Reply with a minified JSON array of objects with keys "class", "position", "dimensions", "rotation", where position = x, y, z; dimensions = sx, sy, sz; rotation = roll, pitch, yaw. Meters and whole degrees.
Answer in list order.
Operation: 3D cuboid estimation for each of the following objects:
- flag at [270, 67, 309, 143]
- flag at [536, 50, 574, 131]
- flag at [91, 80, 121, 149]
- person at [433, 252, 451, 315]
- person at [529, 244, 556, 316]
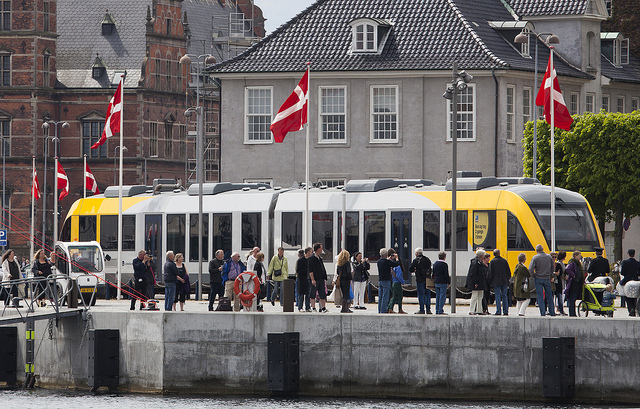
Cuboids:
[{"class":"flag","position":[-1.370,-4.267,79.865],"dimensions":[1.543,3.134,0.712],"rotation":[-1,-4,-2]},{"class":"flag","position":[10.138,-4.897,79.643],"dimensions":[1.451,3.500,1.874],"rotation":[-1,-4,7]},{"class":"flag","position":[-9.883,-4.111,83.970],"dimensions":[1.434,3.658,0.310],"rotation":[-1,-28,-1]},{"class":"person","position":[4.837,3.314,73.826],"dimensions":[0.613,2.485,1.009],"rotation":[-1,-4,3]},{"class":"person","position":[8.853,3.184,73.123],"dimensions":[1.001,2.830,0.749],"rotation":[0,0,-10]}]
